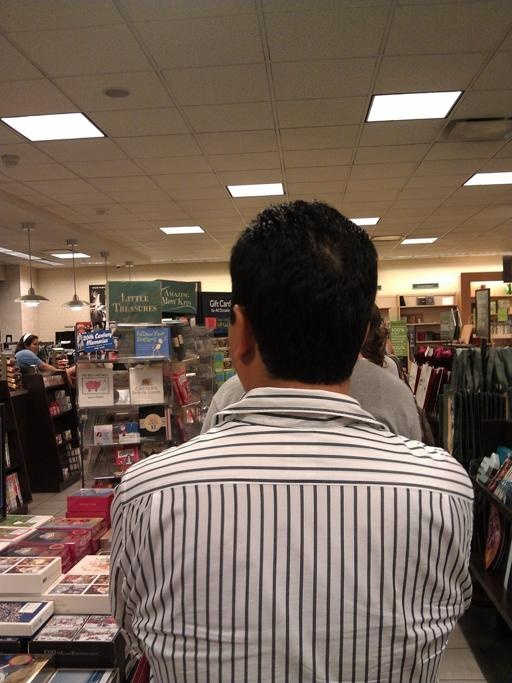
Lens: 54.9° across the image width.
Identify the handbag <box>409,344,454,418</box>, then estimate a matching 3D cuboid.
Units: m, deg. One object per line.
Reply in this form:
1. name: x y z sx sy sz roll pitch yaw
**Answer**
1. handbag: 1.770 0.390 4.901 0.223 0.617 0.468 4 6 11
